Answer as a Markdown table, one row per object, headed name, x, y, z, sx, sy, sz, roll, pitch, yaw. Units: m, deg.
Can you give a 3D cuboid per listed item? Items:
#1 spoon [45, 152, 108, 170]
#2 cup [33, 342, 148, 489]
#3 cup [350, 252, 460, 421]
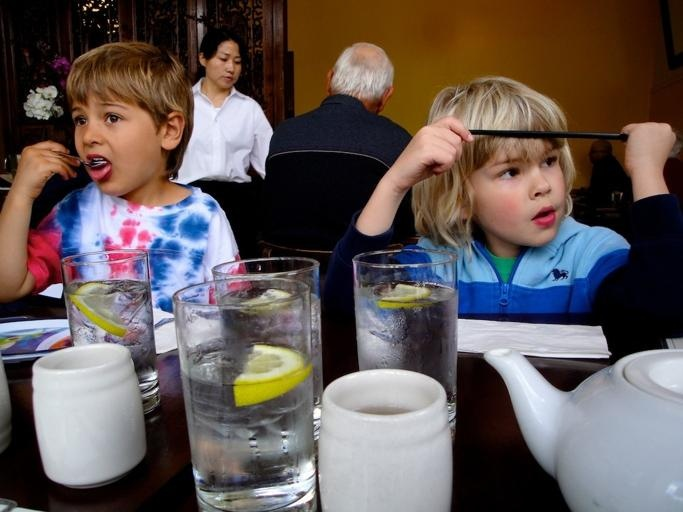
| name | x | y | z | sx | sy | sz | roll | pitch | yaw |
| --- | --- | --- | --- | --- | --- | --- | --- | --- | --- |
| spoon | -0.699 | -0.251 | 1.401 | 0.115 | 0.023 | 0.018 | 18 | -23 | 13 |
| cup | -0.282 | 0.180 | 0.680 | 0.132 | 0.169 | 0.140 | -4 | 6 | 0 |
| cup | 0.101 | 0.098 | 0.843 | 0.169 | 0.325 | 0.182 | -1 | 4 | 0 |
